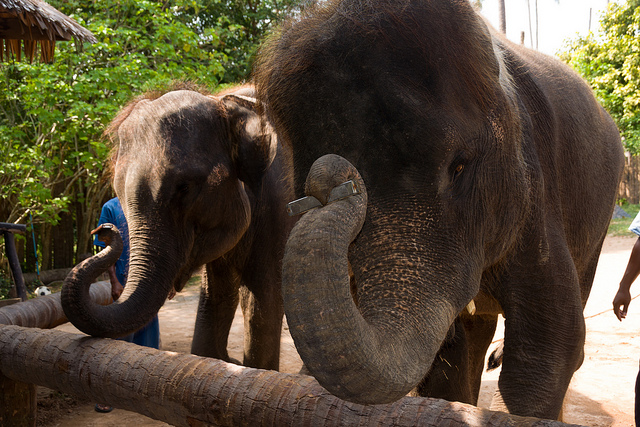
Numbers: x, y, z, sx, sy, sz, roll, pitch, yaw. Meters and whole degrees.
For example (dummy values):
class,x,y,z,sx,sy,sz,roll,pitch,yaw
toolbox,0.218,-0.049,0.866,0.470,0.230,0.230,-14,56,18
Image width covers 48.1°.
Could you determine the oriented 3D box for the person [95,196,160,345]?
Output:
class,x,y,z,sx,sy,sz,roll,pitch,yaw
person,-1.531,0.561,6.094,0.706,1.513,0.368,1,21,-7
